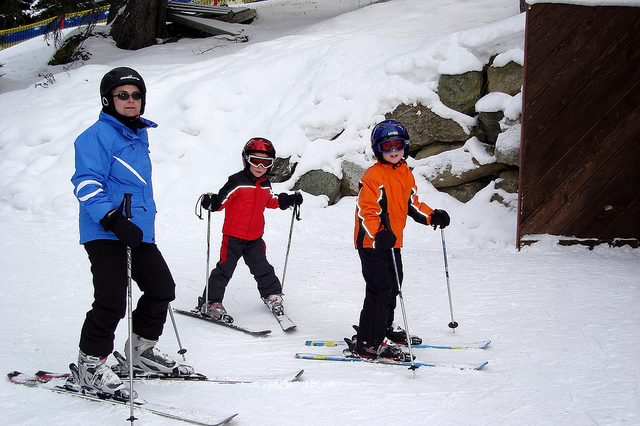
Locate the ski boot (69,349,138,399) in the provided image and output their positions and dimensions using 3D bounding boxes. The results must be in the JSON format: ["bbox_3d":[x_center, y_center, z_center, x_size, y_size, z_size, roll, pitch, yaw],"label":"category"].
[{"bbox_3d":[-1.764,1.304,4.794,0.616,0.334,0.237,12,17,21],"label":"ski boot"}]

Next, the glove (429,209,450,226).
[{"bbox_3d":[1.144,0.049,5.654,0.182,0.131,0.078,10,-29,12],"label":"glove"}]

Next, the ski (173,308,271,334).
[{"bbox_3d":[-1.037,1.122,6.061,0.783,0.078,0.091,16,8,29],"label":"ski"}]

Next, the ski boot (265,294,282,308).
[{"bbox_3d":[-0.505,0.936,6.253,0.178,0.118,0.118,-2,16,-1],"label":"ski boot"}]

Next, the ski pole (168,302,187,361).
[{"bbox_3d":[-1.390,1.169,5.694,0.083,0.589,0.089,-13,11,4],"label":"ski pole"}]

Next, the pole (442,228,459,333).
[{"bbox_3d":[1.299,0.704,5.945,0.142,1.235,0.132,-7,24,9],"label":"pole"}]

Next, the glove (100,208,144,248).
[{"bbox_3d":[-1.547,0.127,4.670,0.216,0.336,0.132,-46,-2,-11],"label":"glove"}]

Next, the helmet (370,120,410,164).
[{"bbox_3d":[0.643,-0.691,5.518,0.350,0.387,0.402,-9,12,-5],"label":"helmet"}]

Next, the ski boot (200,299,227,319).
[{"bbox_3d":[-1.111,1.007,6.135,0.337,0.155,0.121,10,-6,43],"label":"ski boot"}]

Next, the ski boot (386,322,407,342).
[{"bbox_3d":[0.714,1.148,5.671,0.219,0.134,0.121,-4,9,4],"label":"ski boot"}]

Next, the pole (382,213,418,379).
[{"bbox_3d":[0.715,0.744,5.244,0.233,1.503,0.215,-9,-4,-3],"label":"pole"}]

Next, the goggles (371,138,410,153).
[{"bbox_3d":[0.644,-0.630,5.408,0.325,0.130,0.115,-1,16,2],"label":"goggles"}]

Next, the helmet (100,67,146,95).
[{"bbox_3d":[-1.616,-1.083,4.802,0.236,0.242,0.314,-5,3,-40],"label":"helmet"}]

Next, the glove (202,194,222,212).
[{"bbox_3d":[-1.110,-0.103,5.975,0.096,0.183,0.237,10,20,33],"label":"glove"}]

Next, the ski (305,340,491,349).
[{"bbox_3d":[0.792,1.243,5.530,1.328,0.066,0.142,-1,9,7],"label":"ski"}]

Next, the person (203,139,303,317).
[{"bbox_3d":[-0.738,0.151,6.243,1.020,1.820,0.696,-5,17,-12],"label":"person"}]
